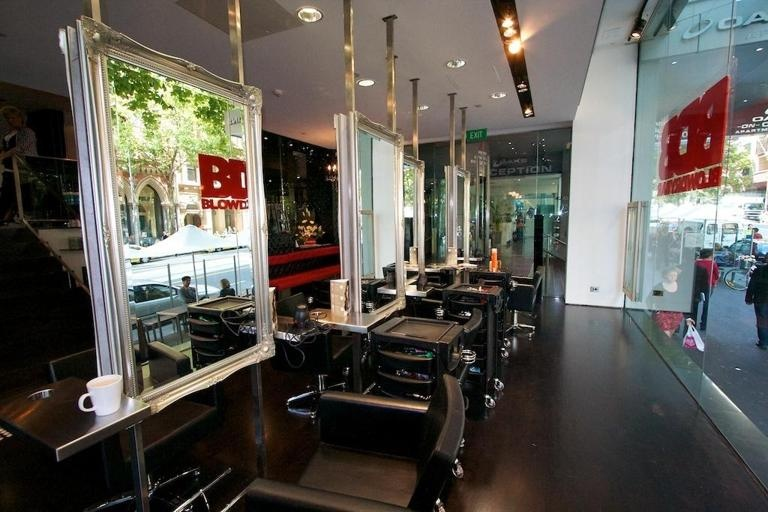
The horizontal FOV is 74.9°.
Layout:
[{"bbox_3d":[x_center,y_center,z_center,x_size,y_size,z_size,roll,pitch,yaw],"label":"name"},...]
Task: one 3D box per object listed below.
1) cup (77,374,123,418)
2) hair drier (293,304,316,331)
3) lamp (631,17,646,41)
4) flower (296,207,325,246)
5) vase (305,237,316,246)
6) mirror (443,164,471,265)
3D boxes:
[{"bbox_3d":[-2.125,1.052,3.891,0.242,0.248,0.356,8,11,33],"label":"cup"},{"bbox_3d":[-0.787,0.615,4.987,0.233,0.222,0.224,1,11,8],"label":"hair drier"},{"bbox_3d":[3.926,-3.496,7.734,0.133,0.218,0.063,-6,42,-7],"label":"lamp"},{"bbox_3d":[-1.594,-0.606,10.640,0.729,0.861,0.723,1,5,13],"label":"flower"},{"bbox_3d":[-1.503,-0.279,10.295,0.244,0.137,0.458,-3,4,-9],"label":"vase"},{"bbox_3d":[1.238,-0.685,8.435,0.338,1.596,1.056,-1,5,15],"label":"mirror"}]
